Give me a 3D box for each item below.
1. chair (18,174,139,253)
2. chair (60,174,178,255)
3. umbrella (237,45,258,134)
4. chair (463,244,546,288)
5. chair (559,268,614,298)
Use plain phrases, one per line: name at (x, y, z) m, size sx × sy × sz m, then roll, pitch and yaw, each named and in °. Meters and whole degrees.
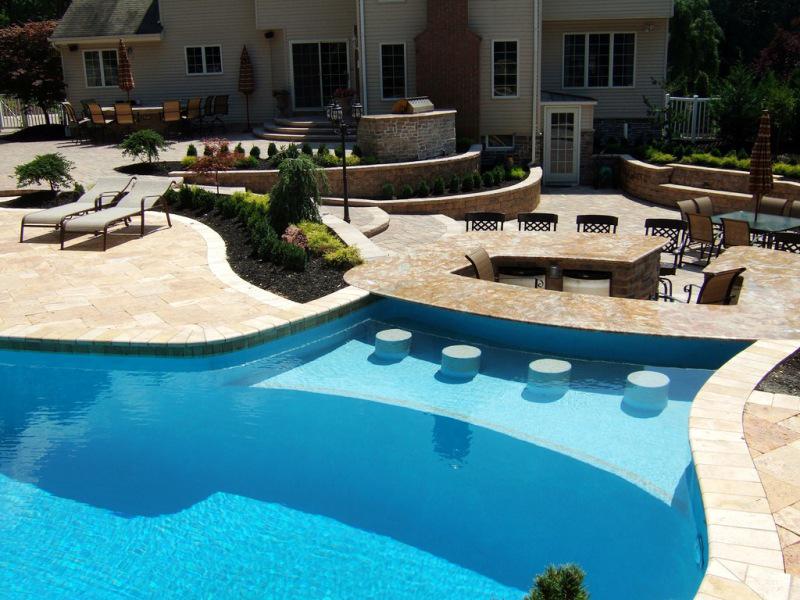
chair at (-7.816, -2.210, 13.724) m, size 1.332 × 1.184 × 3.539 m, roll 4°, pitch 18°, yaw 9°
chair at (-6.449, -2.125, 13.787) m, size 1.407 × 1.122 × 3.132 m, roll 9°, pitch 20°, yaw 14°
umbrella at (-7.104, -9.882, 27.058) m, size 0.840 × 3.721 × 1.972 m, roll -5°, pitch 18°, yaw -13°
chair at (1.818, -0.516, 10.288) m, size 1.475 × 0.777 × 0.763 m, roll -13°, pitch 20°, yaw -38°
chair at (3.287, -0.307, 10.236) m, size 0.656 × 0.485 × 0.548 m, roll 0°, pitch 5°, yaw 0°
